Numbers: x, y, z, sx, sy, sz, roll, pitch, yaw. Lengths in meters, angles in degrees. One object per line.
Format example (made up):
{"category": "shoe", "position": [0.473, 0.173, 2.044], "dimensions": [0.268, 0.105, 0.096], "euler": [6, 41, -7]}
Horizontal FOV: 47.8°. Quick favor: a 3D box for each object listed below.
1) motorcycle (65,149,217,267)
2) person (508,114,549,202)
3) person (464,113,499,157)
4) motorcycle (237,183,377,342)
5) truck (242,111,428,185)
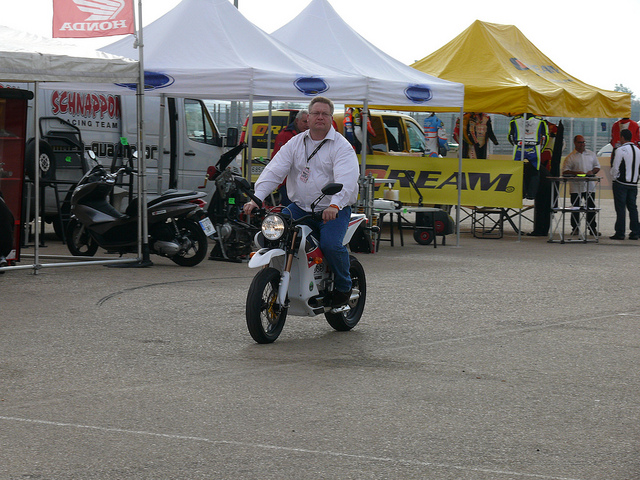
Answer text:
{"category": "motorcycle", "position": [-2.701, -0.478, 10.834], "dimensions": [2.299, 1.701, 0.899], "euler": [1, 3, 4]}
{"category": "person", "position": [4.840, -1.953, 16.779], "dimensions": [0.869, 1.970, 0.890], "euler": [2, 3, 15]}
{"category": "person", "position": [4.147, -2.708, 18.642], "dimensions": [0.799, 1.121, 0.538], "euler": [2, 3, 9]}
{"category": "motorcycle", "position": [-0.121, 0.191, 6.551], "dimensions": [1.068, 1.391, 1.421], "euler": [1, 3, 3]}
{"category": "truck", "position": [0.648, -2.780, 18.716], "dimensions": [5.129, 1.930, 2.634], "euler": [-4, 8, -2]}
